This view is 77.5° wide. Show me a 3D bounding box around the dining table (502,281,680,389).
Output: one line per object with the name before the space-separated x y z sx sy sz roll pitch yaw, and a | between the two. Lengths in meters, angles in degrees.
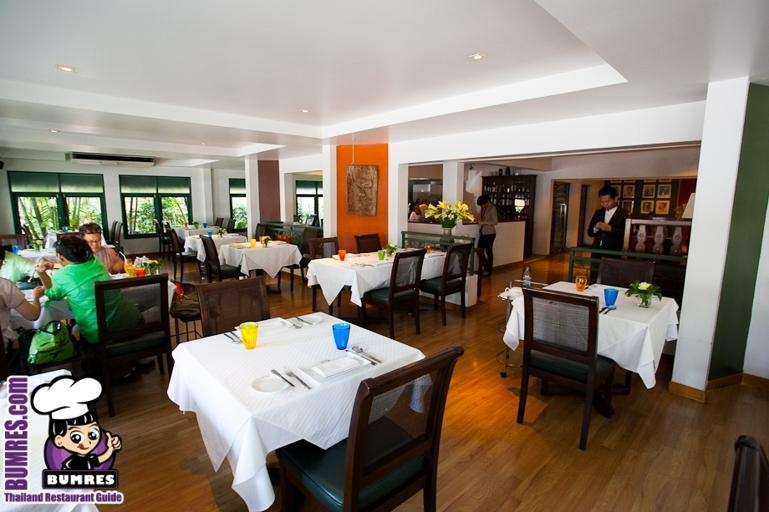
dining table | 2.015 0.591 3.899 1.092 0.414 1.070 -7 10 -41

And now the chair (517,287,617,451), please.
chair | 1.361 0.813 3.696 0.637 1.189 0.327 3 11 33

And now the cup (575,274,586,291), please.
cup | 1.770 0.245 4.313 0.125 0.139 0.124 -1 3 0

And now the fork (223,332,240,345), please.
fork | -1.048 0.560 3.302 0.054 0.018 0.158 -10 17 -33

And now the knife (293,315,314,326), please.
knife | -0.622 0.475 3.601 0.062 0.009 0.172 -3 8 -31

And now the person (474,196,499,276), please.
person | 1.726 -0.332 8.033 0.311 1.326 1.735 -1 9 13

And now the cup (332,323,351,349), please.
cup | -0.286 0.517 3.144 0.153 0.163 0.150 -1 0 0

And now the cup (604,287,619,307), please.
cup | 1.882 0.341 3.968 0.144 0.148 0.142 0 0 0

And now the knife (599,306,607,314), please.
knife | 1.769 0.428 3.854 0.032 0.005 0.122 17 22 38

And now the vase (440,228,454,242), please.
vase | 0.849 -0.292 6.461 0.189 0.227 0.190 3 7 31

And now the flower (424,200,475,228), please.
flower | 0.806 -0.551 6.346 0.619 0.379 0.608 0 2 -42

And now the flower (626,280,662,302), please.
flower | 2.162 0.284 4.002 0.219 0.140 0.223 5 3 41

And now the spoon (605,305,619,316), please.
spoon | 1.832 0.421 3.871 0.052 0.025 0.191 20 26 39

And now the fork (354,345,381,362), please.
fork | -0.126 0.631 3.117 0.064 0.045 0.318 -9 11 -31

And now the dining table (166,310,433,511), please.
dining table | -0.892 0.634 3.103 1.307 0.486 1.284 -9 16 -41

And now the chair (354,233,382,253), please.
chair | -0.222 -0.206 6.834 0.265 0.451 0.323 -8 13 -29

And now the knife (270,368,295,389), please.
knife | -0.635 0.718 2.938 0.054 0.043 0.378 -24 20 -30

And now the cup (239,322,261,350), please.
cup | -0.883 0.532 3.235 0.163 0.172 0.163 -2 -1 0

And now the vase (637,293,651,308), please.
vase | 2.155 0.365 4.013 0.117 0.125 0.119 0 8 39

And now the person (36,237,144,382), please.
person | -2.458 0.471 3.995 0.863 1.308 0.436 1 10 26

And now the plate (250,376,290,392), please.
plate | -0.680 0.763 2.870 0.218 0.053 0.144 -5 9 -13

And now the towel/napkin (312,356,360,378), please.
towel/napkin | -0.295 0.683 2.979 0.180 0.020 0.124 -9 14 -41
